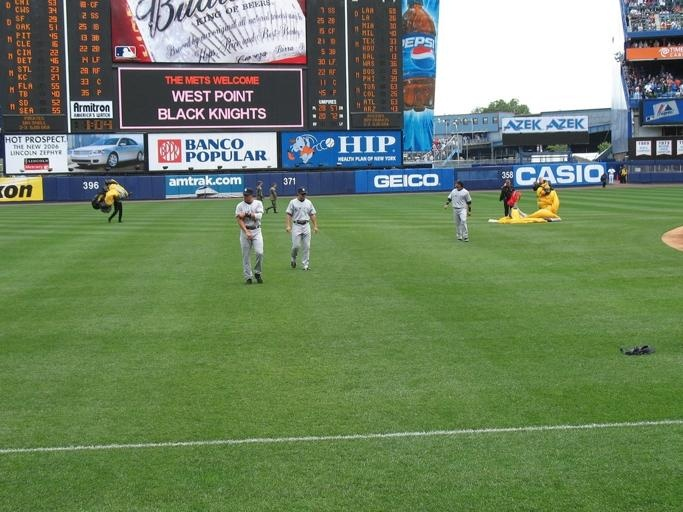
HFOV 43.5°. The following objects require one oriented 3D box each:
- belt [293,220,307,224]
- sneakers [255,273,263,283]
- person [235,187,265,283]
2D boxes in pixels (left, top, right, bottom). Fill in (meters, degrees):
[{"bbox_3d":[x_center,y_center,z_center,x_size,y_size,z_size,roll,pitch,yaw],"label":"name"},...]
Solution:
[{"bbox_3d":[-0.873,-0.710,18.620,0.285,0.082,0.088,-2,12,-9],"label":"belt"},{"bbox_3d":[-1.655,0.453,17.245,0.100,0.245,0.109,-9,23,2],"label":"sneakers"},{"bbox_3d":[-1.811,-0.384,17.107,0.500,1.956,0.918,-3,13,-7],"label":"person"}]
